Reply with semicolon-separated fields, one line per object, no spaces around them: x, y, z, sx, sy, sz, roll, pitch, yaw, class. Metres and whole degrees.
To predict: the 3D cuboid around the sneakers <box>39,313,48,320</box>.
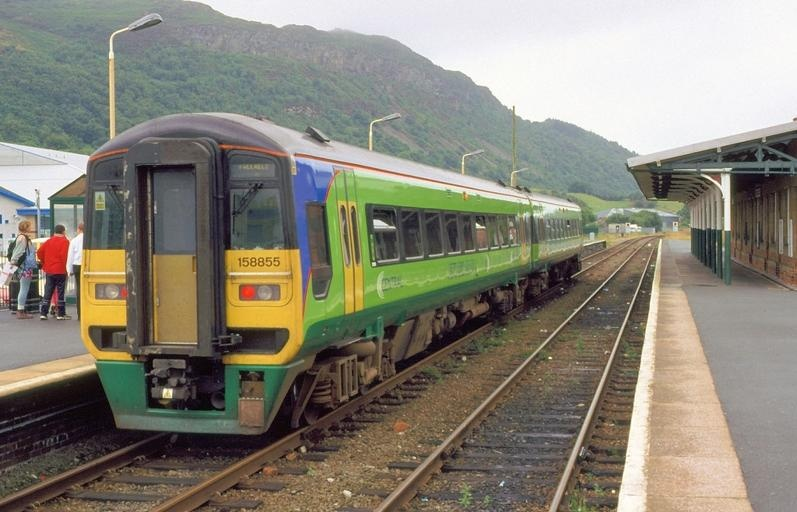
-7.523;1.291;13.502;0.119;0.152;0.334;-1;-10;-6;sneakers

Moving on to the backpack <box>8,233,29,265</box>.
-8.173;-0.127;13.672;0.390;0.745;0.517;-4;1;-25;backpack

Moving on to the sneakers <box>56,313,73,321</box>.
-7.149;1.320;13.686;0.123;0.146;0.352;-1;-7;-4;sneakers
